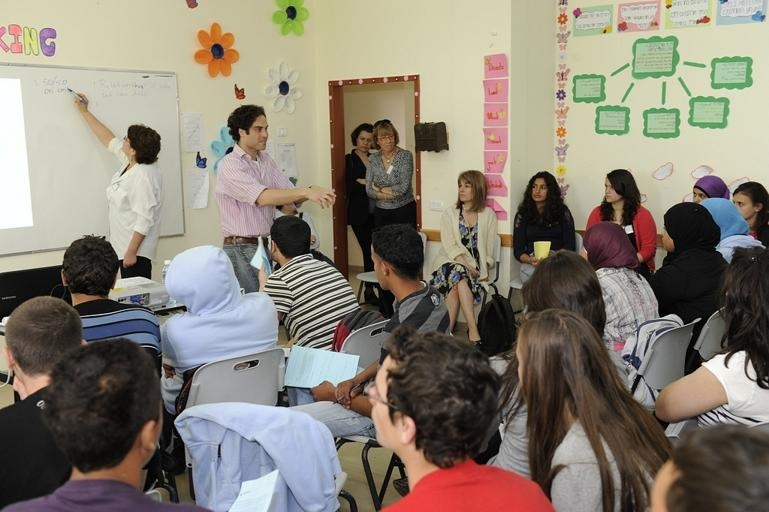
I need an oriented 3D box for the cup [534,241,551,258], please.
[{"bbox_3d":[1.289,-0.054,4.474,0.106,0.117,0.109,14,-4,1],"label":"cup"}]
